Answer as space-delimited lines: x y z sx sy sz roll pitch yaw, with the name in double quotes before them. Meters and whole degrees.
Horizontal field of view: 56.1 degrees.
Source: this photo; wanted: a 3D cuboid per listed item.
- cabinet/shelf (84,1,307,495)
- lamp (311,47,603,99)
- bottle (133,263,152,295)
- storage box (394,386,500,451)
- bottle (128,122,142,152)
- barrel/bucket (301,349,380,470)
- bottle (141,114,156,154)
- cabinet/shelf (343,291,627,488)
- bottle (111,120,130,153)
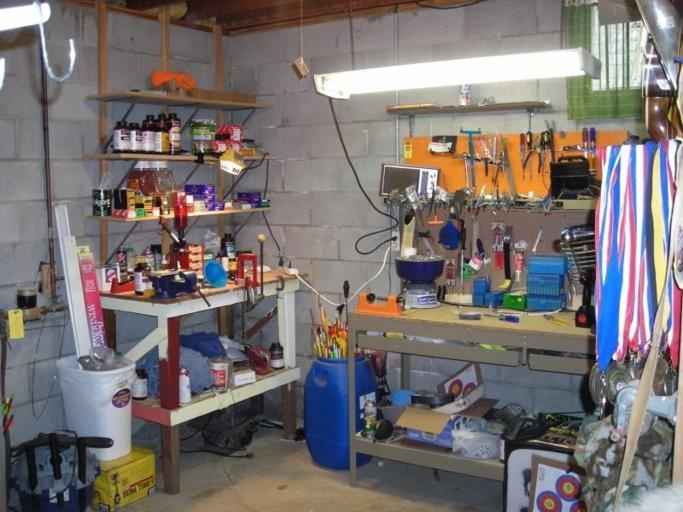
"cabinet/shelf" -0.931 -0.187 4.399 1.055 2.951 1.438 8 11 41
"lamp" 0.466 -0.813 2.880 1.271 0.154 0.273 6 11 28
"bottle" -1.206 0.137 3.902 0.093 0.171 0.284 -2 10 -18
"storage box" 0.604 0.926 3.656 0.460 0.216 0.279 -2 4 6
"bottle" -1.302 -0.756 4.062 0.076 0.176 0.072 1 9 0
"barrel/bucket" -0.031 1.012 4.188 0.404 0.646 0.420 2 0 0
"bottle" -1.236 -0.787 4.116 0.083 0.237 0.136 -2 9 -17
"cabinet/shelf" 0.823 0.520 3.873 1.705 1.239 0.932 2 3 30
"bottle" -1.390 -0.761 4.057 0.094 0.189 0.127 -3 9 -22
